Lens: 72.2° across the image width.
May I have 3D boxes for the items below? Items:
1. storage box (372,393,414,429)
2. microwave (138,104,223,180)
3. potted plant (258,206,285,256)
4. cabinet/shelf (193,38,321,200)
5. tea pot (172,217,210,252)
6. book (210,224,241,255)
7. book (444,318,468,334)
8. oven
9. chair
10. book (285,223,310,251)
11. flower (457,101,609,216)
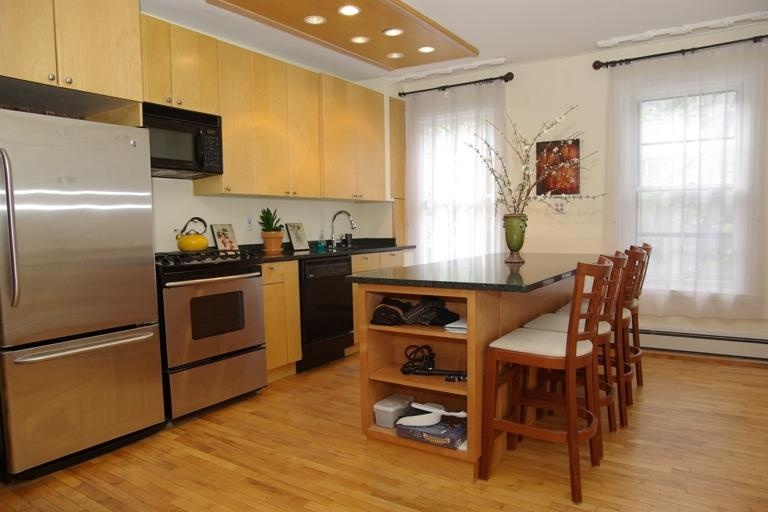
[{"bbox_3d":[0.057,1.134,3.860,0.224,0.106,0.225,2,7,38],"label":"storage box"},{"bbox_3d":[-1.803,-1.036,4.695,0.526,0.585,0.867,2,4,29],"label":"microwave"},{"bbox_3d":[-1.217,-0.280,5.635,0.271,0.479,0.784,-3,7,-10],"label":"potted plant"},{"bbox_3d":[-1.305,-1.357,5.208,0.654,1.584,1.725,-1,-1,39],"label":"cabinet/shelf"},{"bbox_3d":[-1.801,-0.201,5.067,0.324,0.353,0.352,1,-2,0],"label":"tea pot"},{"bbox_3d":[-1.607,-0.164,5.283,0.050,0.446,0.352,-26,-16,33],"label":"book"},{"bbox_3d":[0.490,0.482,3.632,0.156,0.055,0.249,0,7,7],"label":"book"},{"bbox_3d":[-1.714,0.715,4.771,0.857,1.202,0.959,0,5,38],"label":"oven"},{"bbox_3d":[1.301,0.893,3.815,0.631,1.210,1.685,4,5,33],"label":"chair"},{"bbox_3d":[-1.025,-0.219,6.115,0.032,0.310,0.318,-21,0,26],"label":"book"},{"bbox_3d":[1.681,-1.090,6.250,1.701,1.204,1.133,1,3,12],"label":"flower"}]
